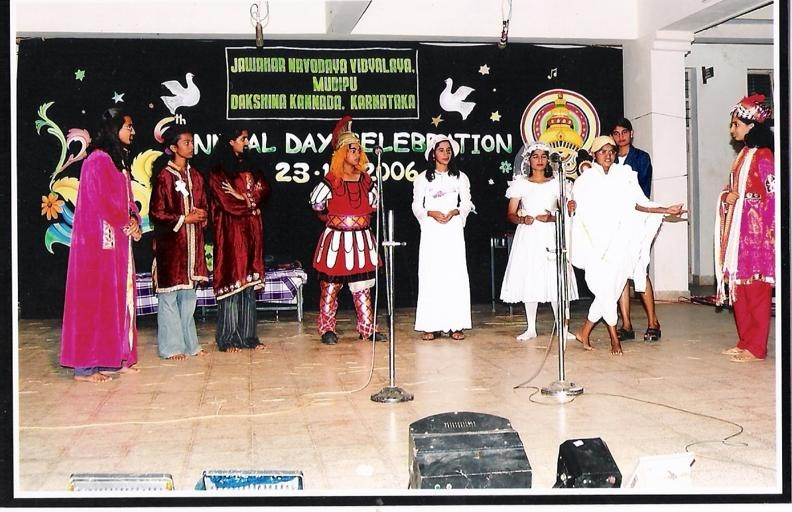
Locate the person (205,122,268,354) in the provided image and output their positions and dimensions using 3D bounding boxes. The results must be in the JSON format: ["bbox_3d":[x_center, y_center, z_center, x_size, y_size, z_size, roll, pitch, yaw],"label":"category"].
[{"bbox_3d":[-1.610,-0.156,7.556,0.591,2.265,0.328,-3,6,-21],"label":"person"}]

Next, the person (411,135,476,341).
[{"bbox_3d":[0.520,-0.194,8.040,0.648,2.206,0.383,0,6,5],"label":"person"}]

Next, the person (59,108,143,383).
[{"bbox_3d":[-2.648,-0.166,6.484,0.720,2.281,0.414,-3,6,-26],"label":"person"}]

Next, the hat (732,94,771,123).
[{"bbox_3d":[3.379,-1.410,6.952,0.302,0.294,0.531,2,6,24],"label":"hat"}]

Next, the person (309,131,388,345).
[{"bbox_3d":[-0.549,-0.185,7.849,0.671,2.250,0.325,-1,6,-2],"label":"person"}]

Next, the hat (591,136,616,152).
[{"bbox_3d":[2.080,-1.117,7.349,0.163,0.131,0.194,-5,3,-4],"label":"hat"}]

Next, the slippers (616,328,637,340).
[{"bbox_3d":[2.458,0.837,7.774,0.109,0.107,0.281,-3,-6,24],"label":"slippers"}]

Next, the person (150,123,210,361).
[{"bbox_3d":[-2.141,-0.114,7.220,0.542,2.251,0.380,-5,7,-38],"label":"person"}]

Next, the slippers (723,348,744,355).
[{"bbox_3d":[3.274,0.925,7.059,0.139,0.057,0.065,2,-3,-14],"label":"slippers"}]

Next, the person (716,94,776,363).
[{"bbox_3d":[3.289,-0.267,6.871,0.535,2.471,0.384,3,7,34],"label":"person"}]

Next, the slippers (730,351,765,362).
[{"bbox_3d":[3.317,0.944,6.858,0.286,0.078,0.113,2,-1,0],"label":"slippers"}]

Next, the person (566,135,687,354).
[{"bbox_3d":[2.161,-0.128,7.316,1.021,2.155,0.601,-2,6,-16],"label":"person"}]

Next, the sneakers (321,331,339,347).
[{"bbox_3d":[-0.719,0.904,7.891,0.134,0.101,0.257,0,-4,-9],"label":"sneakers"}]
